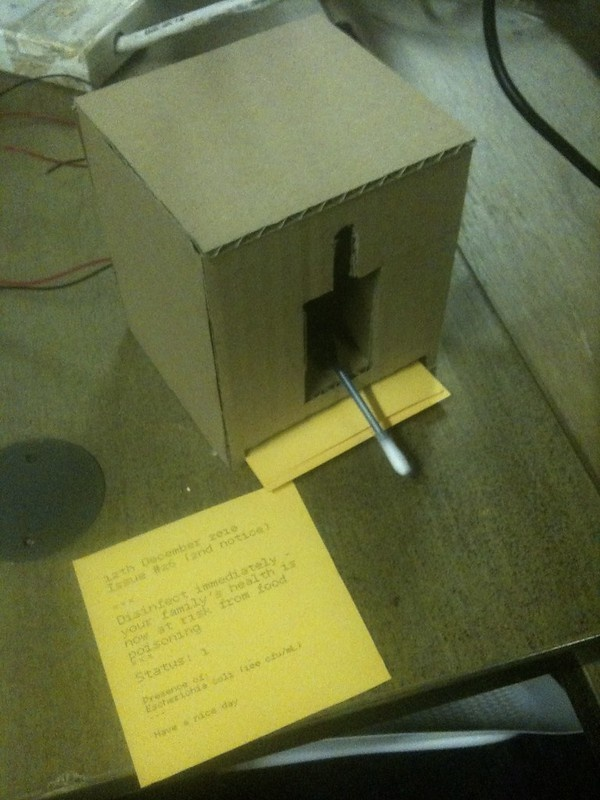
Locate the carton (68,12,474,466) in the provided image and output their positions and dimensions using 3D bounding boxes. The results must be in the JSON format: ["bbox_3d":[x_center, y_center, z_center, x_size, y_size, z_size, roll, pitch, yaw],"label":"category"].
[{"bbox_3d":[-0.029,-0.140,0.716,0.249,0.223,0.234,-21,55,-18],"label":"carton"}]

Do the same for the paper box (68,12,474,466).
[{"bbox_3d":[-0.017,-0.130,0.719,0.242,0.279,0.222,-27,52,-18],"label":"paper box"}]

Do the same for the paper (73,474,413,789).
[{"bbox_3d":[-0.061,0.175,0.669,0.200,0.046,0.186,-18,49,-13],"label":"paper"}]

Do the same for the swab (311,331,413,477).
[{"bbox_3d":[0.052,0.005,0.747,0.023,0.020,0.148,-37,69,15],"label":"swab"}]
